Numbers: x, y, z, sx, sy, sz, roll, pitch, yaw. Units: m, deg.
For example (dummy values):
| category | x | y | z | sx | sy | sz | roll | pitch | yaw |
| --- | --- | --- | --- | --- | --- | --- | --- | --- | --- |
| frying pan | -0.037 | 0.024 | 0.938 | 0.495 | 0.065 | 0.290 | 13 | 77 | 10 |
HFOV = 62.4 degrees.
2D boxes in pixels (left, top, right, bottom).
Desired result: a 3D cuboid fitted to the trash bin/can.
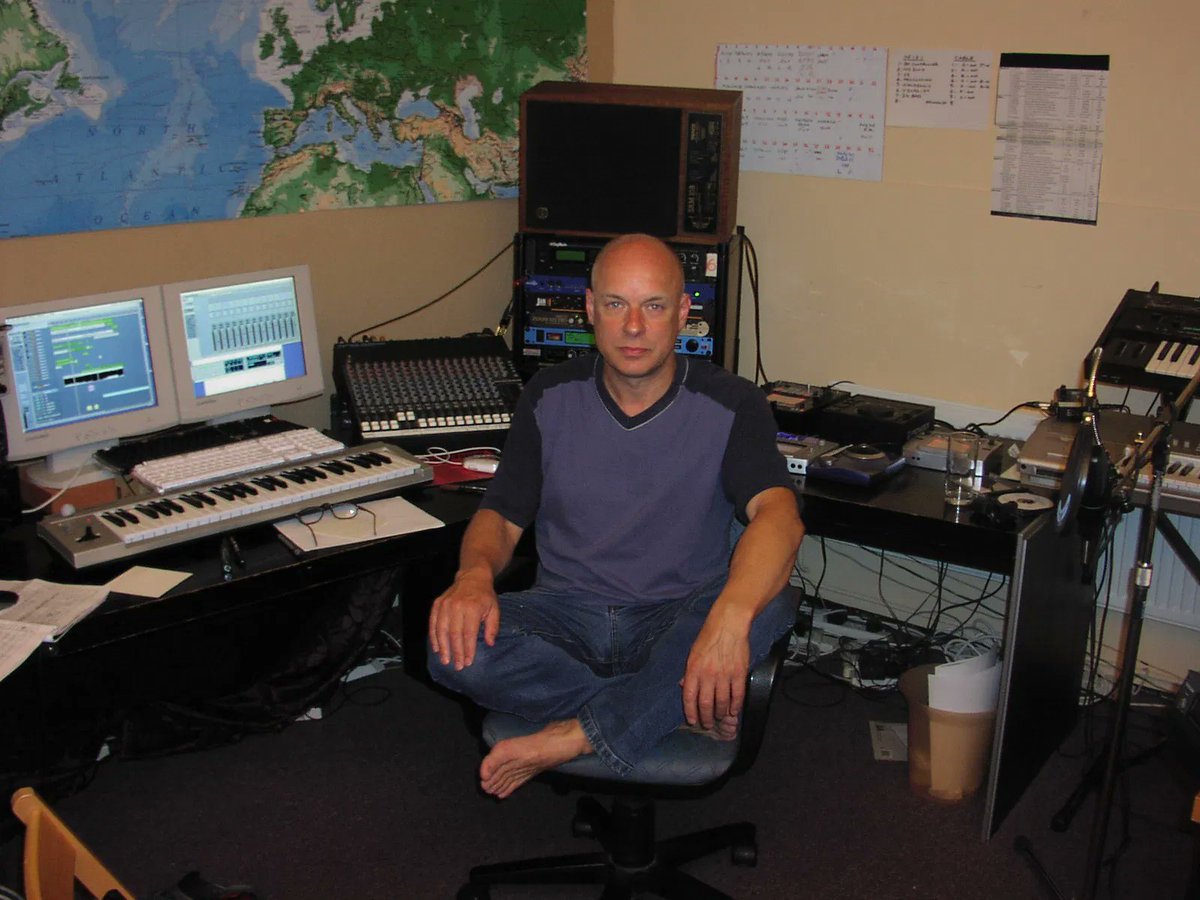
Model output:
| category | x | y | z | sx | sy | sz | roll | pitch | yaw |
| --- | --- | --- | --- | --- | --- | --- | --- | --- | --- |
| trash bin/can | 1.092 | 0.857 | 3.057 | 0.362 | 0.349 | 0.362 | 1 | 7 | 23 |

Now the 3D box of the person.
| category | x | y | z | sx | sy | sz | roll | pitch | yaw |
| --- | --- | --- | --- | --- | --- | --- | --- | --- | --- |
| person | 0.059 | 0.135 | 2.339 | 0.818 | 1.120 | 0.825 | 5 | 24 | 12 |

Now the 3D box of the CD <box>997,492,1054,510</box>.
| category | x | y | z | sx | sy | sz | roll | pitch | yaw |
| --- | --- | --- | --- | --- | --- | --- | --- | --- | --- |
| CD | 1.233 | 0.143 | 2.846 | 0.079 | 0.011 | 0.078 | -16 | 23 | -37 |

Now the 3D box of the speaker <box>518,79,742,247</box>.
| category | x | y | z | sx | sy | sz | roll | pitch | yaw |
| --- | --- | --- | --- | --- | --- | --- | --- | --- | --- |
| speaker | 0.055 | -1.017 | 3.564 | 0.754 | 0.472 | 0.366 | -1 | 17 | -12 |

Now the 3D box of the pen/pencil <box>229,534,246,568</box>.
| category | x | y | z | sx | sy | sz | roll | pitch | yaw |
| --- | --- | --- | --- | --- | --- | --- | --- | --- | --- |
| pen/pencil | -0.923 | 0.256 | 2.506 | 0.020 | 0.072 | 0.014 | -17 | -9 | 6 |

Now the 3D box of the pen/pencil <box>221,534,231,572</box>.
| category | x | y | z | sx | sy | sz | roll | pitch | yaw |
| --- | --- | --- | --- | --- | --- | --- | --- | --- | --- |
| pen/pencil | -0.934 | 0.252 | 2.476 | 0.023 | 0.098 | 0.024 | -3 | -12 | -18 |
